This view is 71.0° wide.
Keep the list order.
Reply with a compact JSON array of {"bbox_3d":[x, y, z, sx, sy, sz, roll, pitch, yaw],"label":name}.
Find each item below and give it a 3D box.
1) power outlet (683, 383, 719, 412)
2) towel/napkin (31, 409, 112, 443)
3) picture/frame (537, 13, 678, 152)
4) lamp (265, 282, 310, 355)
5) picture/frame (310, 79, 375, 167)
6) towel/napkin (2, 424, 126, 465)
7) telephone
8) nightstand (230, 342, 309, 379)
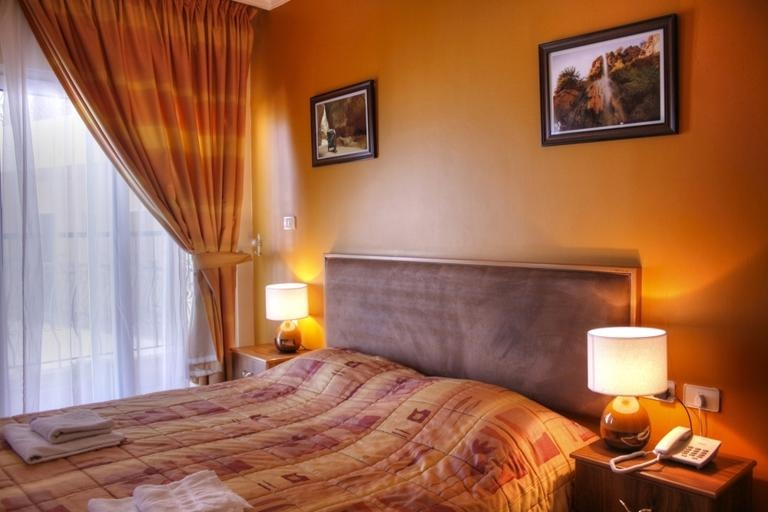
[{"bbox_3d":[1.651,0.730,2.783,0.024,0.138,0.167,3,-1,-42],"label":"power outlet"},{"bbox_3d":[-1.661,0.914,2.901,0.207,0.063,0.211,3,1,43],"label":"towel/napkin"},{"bbox_3d":[1.270,-0.977,2.978,0.876,0.721,0.060,-1,1,37],"label":"picture/frame"},{"bbox_3d":[-0.856,0.545,4.458,0.368,0.547,0.360,-2,-3,-40],"label":"lamp"},{"bbox_3d":[-0.295,-1.052,4.187,0.765,0.636,0.061,0,2,42],"label":"picture/frame"},{"bbox_3d":[-1.768,0.991,2.839,0.687,0.069,0.300,2,9,9],"label":"towel/napkin"},{"bbox_3d":[1.384,0.880,2.575,0.388,0.092,0.243,-3,0,-36],"label":"telephone"},{"bbox_3d":[-0.985,0.818,4.435,0.405,0.372,0.401,-2,1,-41],"label":"nightstand"}]
